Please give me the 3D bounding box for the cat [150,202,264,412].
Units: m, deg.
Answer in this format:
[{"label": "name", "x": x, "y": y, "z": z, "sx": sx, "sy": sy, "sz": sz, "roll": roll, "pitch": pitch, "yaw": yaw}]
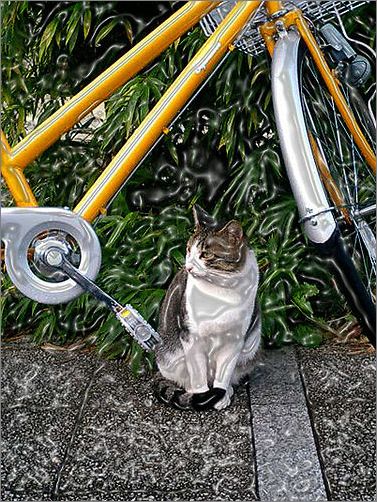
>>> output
[{"label": "cat", "x": 0.057, "y": 0.182, "z": 1.345, "sx": 0.349, "sy": 0.570, "sz": 0.336, "roll": -5, "pitch": 10, "yaw": -27}]
